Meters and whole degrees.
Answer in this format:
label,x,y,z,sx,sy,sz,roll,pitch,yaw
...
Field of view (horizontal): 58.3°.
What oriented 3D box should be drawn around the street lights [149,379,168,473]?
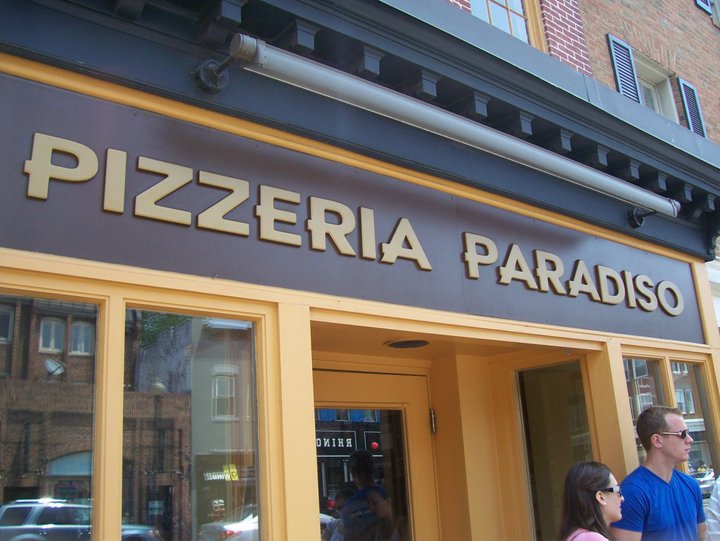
label,x,y,z,sx,sy,sz,roll,pitch,yaw
street lights,-1.148,0.888,3.691,0.025,0.497,0.101,-14,-20,34
